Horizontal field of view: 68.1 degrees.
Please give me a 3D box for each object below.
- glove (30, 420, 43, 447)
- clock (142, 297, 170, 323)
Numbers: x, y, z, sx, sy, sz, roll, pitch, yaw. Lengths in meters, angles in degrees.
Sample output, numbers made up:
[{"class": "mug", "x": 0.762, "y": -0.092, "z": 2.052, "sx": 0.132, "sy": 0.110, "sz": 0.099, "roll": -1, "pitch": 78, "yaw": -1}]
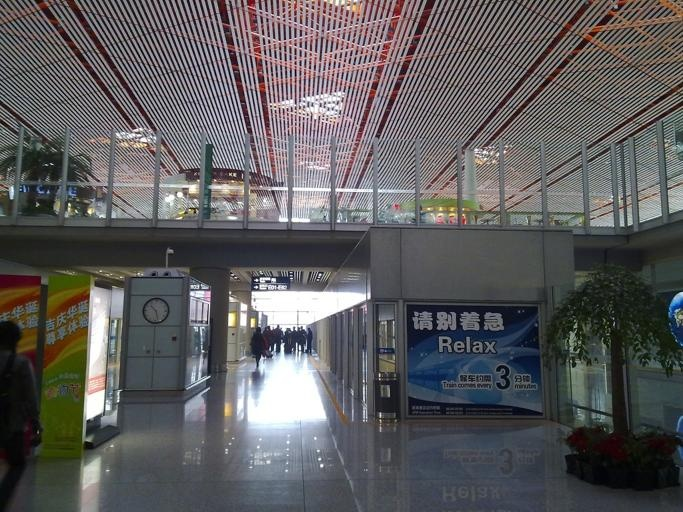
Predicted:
[{"class": "glove", "x": -3.395, "y": 1.989, "z": 5.652, "sx": 0.086, "sy": 0.337, "sz": 0.658, "roll": 4, "pitch": -8, "yaw": -30}, {"class": "clock", "x": -5.358, "y": 1.597, "z": 14.572, "sx": 0.769, "sy": 0.712, "sz": 0.107, "roll": -1, "pitch": -6, "yaw": -1}]
